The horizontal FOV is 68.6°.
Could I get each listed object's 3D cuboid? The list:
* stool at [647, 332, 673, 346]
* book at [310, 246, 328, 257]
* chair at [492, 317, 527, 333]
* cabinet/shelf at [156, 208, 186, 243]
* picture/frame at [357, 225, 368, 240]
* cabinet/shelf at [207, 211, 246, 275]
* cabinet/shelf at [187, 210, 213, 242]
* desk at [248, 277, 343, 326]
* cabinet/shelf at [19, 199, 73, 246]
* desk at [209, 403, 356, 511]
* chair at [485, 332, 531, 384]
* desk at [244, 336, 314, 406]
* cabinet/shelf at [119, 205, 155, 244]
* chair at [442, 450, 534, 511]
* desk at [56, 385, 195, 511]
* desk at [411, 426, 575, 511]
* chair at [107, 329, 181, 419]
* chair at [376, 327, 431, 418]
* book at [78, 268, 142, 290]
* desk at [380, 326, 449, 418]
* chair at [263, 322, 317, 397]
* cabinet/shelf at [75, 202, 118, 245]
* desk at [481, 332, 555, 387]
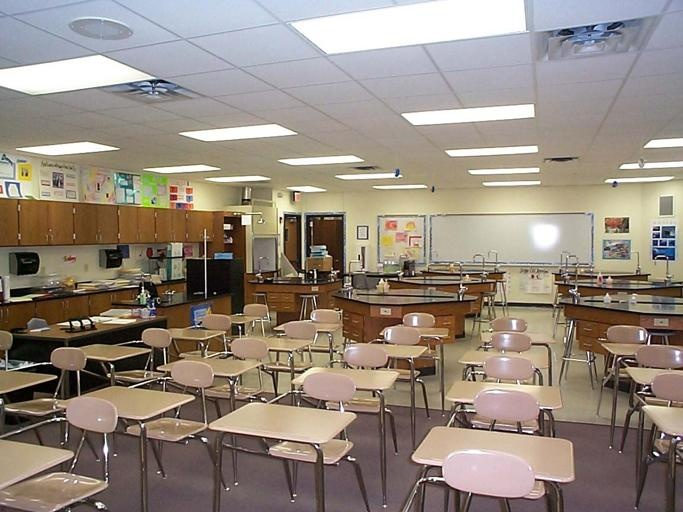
[{"bbox_3d":[3.784,0.983,5.945,0.217,0.277,0.210,-2,-8,26],"label":"stool"},{"bbox_3d":[-0.541,-0.100,10.924,0.334,0.154,0.331,-1,0,17],"label":"book"},{"bbox_3d":[2.047,0.837,6.165,0.305,0.200,0.289,1,-1,7],"label":"chair"},{"bbox_3d":[-3.803,-0.645,10.789,0.347,0.728,0.849,-3,3,-15],"label":"cabinet/shelf"},{"bbox_3d":[0.606,-0.678,14.445,0.411,0.414,0.033,3,8,24],"label":"picture/frame"},{"bbox_3d":[-2.622,-0.427,12.181,0.465,1.428,0.839,-7,-6,8],"label":"cabinet/shelf"},{"bbox_3d":[-3.221,-0.672,11.355,0.252,0.698,0.832,1,2,16],"label":"cabinet/shelf"},{"bbox_3d":[-0.903,0.719,10.228,1.560,0.786,1.033,0,0,19],"label":"desk"},{"bbox_3d":[-4.921,-0.557,8.227,0.323,0.708,0.884,10,10,30],"label":"cabinet/shelf"},{"bbox_3d":[-0.377,1.170,3.710,1.056,0.808,0.795,0,-2,19],"label":"desk"},{"bbox_3d":[1.818,1.039,5.432,0.379,0.512,0.347,-1,-7,15],"label":"chair"},{"bbox_3d":[-0.680,1.261,5.529,0.453,0.470,0.445,19,-10,-12],"label":"desk"},{"bbox_3d":[-3.952,-0.617,9.921,0.860,0.725,0.298,2,5,15],"label":"cabinet/shelf"},{"bbox_3d":[0.827,1.247,2.843,0.431,0.417,0.324,1,8,14],"label":"chair"},{"bbox_3d":[-1.536,1.430,4.111,1.117,0.999,0.979,-1,-3,26],"label":"desk"},{"bbox_3d":[0.977,1.386,3.226,0.871,0.609,0.614,-1,-5,23],"label":"desk"},{"bbox_3d":[-2.086,1.158,5.417,0.486,0.641,0.484,-27,-15,40],"label":"chair"},{"bbox_3d":[0.673,1.308,5.577,0.581,0.884,0.589,0,13,8],"label":"chair"},{"bbox_3d":[-4.224,0.424,9.335,0.827,0.320,1.382,1,2,16],"label":"book"},{"bbox_3d":[0.971,1.376,6.063,1.180,1.066,0.904,-1,-3,23],"label":"desk"},{"bbox_3d":[-0.494,1.252,5.712,0.650,0.769,0.640,-9,3,2],"label":"chair"},{"bbox_3d":[-4.379,-0.583,9.137,0.871,0.730,0.290,1,3,8],"label":"cabinet/shelf"},{"bbox_3d":[1.942,1.259,5.545,0.856,0.639,0.680,-2,-7,24],"label":"desk"}]
